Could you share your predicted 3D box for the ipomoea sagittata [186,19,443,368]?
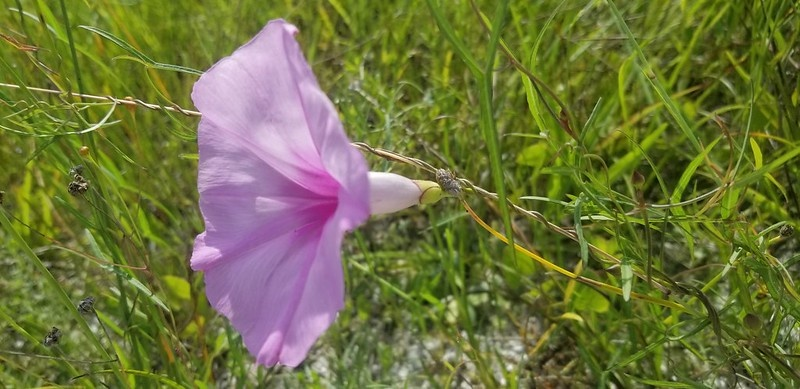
[{"bbox_3d":[-0.355,0.020,2.952,1.031,1.021,1.072,-18,61,-19],"label":"ipomoea sagittata"}]
